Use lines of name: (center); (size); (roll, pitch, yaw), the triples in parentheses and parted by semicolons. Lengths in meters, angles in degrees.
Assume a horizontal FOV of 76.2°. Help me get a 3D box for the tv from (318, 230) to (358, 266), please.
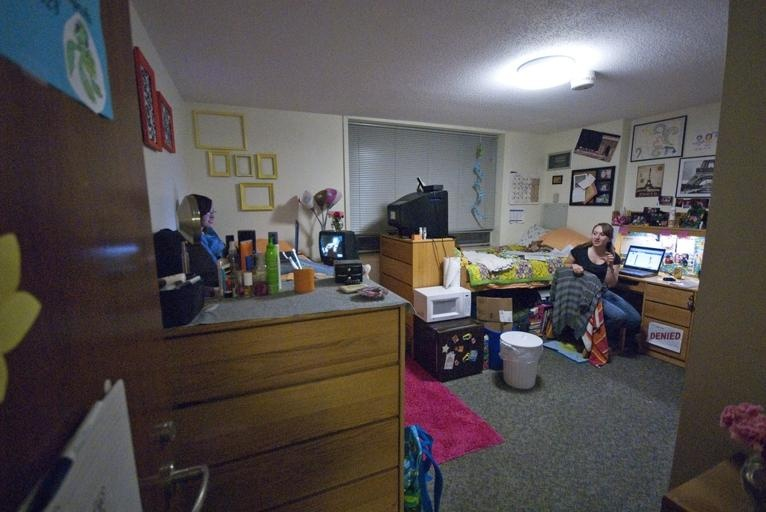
tv: (-0.407, -0.071, 4.349); (0.312, 0.299, 0.174); (5, 9, 36)

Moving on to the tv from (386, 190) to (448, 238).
tv: (0.313, -0.389, 4.599); (0.476, 0.510, 0.504); (-2, 6, -11)

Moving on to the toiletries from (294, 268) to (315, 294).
toiletries: (-0.432, 0.135, 2.686); (0.126, 0.134, 0.117); (-2, 7, -12)

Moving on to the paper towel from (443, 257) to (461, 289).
paper towel: (0.608, 0.147, 4.300); (0.139, 0.246, 0.142); (0, 9, 2)

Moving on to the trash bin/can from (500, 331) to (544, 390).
trash bin/can: (1.006, 0.806, 3.812); (0.384, 0.385, 0.364); (-1, 9, 5)

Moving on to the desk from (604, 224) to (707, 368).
desk: (2.257, 0.360, 4.060); (0.562, 1.090, 1.107); (-1, 5, -19)

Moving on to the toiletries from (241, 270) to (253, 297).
toiletries: (-0.729, 0.152, 2.638); (0.057, 0.124, 0.064); (-4, 10, -19)

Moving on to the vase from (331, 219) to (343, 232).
vase: (-0.444, -0.289, 4.831); (0.120, 0.115, 0.107); (-3, 8, -20)

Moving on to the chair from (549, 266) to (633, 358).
chair: (1.834, 0.495, 4.303); (0.297, 0.904, 0.640); (-10, 14, -39)

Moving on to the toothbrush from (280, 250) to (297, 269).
toothbrush: (-0.674, 0.032, 3.479); (0.033, 0.121, 0.120); (-24, 58, -22)

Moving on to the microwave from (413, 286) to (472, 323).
microwave: (0.501, 0.417, 4.122); (0.467, 0.246, 0.242); (0, 9, 2)

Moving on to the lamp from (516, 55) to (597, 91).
lamp: (1.297, -1.368, 3.681); (0.584, 0.159, 0.496); (2, 9, 15)

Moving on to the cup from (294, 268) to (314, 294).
cup: (-0.434, 0.137, 2.684); (0.127, 0.127, 0.110); (-1, 8, -17)

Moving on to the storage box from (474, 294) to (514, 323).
storage box: (1.008, 0.399, 4.475); (0.372, 0.270, 0.210); (1, 0, 26)

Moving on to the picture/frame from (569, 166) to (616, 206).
picture/frame: (2.340, -0.771, 5.418); (0.041, 0.394, 0.466); (-4, 8, -22)

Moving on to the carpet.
carpet: (0.378, 1.108, 3.512); (0.546, 0.161, 0.980); (-4, 10, -19)

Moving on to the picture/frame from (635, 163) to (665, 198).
picture/frame: (2.696, -0.757, 4.925); (0.030, 0.453, 0.344); (4, 3, -22)

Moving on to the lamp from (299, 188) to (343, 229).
lamp: (-0.607, -0.496, 4.997); (0.388, 0.560, 0.446); (2, 8, 4)

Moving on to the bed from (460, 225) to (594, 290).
bed: (1.383, 0.089, 4.771); (1.017, 0.321, 0.775); (-7, 16, -11)

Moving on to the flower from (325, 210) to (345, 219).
flower: (-0.457, -0.392, 4.821); (0.115, 0.060, 0.115); (2, 10, 7)

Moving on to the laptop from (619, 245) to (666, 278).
laptop: (2.407, 0.058, 4.542); (0.225, 0.301, 0.331); (-7, 16, -32)

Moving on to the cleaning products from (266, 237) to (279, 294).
cleaning products: (-0.616, 0.043, 2.716); (0.080, 0.313, 0.175); (-3, 9, -14)

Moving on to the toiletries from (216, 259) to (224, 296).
toiletries: (-0.869, 0.113, 2.627); (0.034, 0.187, 0.127); (-4, 10, -18)
